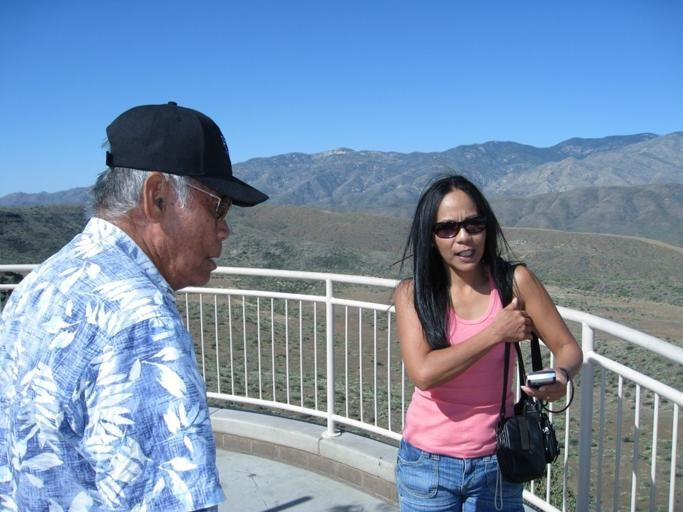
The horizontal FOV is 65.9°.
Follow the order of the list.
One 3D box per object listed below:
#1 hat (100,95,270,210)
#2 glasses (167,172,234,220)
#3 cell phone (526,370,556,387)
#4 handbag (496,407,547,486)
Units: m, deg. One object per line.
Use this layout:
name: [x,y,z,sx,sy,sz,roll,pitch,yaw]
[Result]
hat: [-0.397,-0.268,1.381,0.433,0.185,0.257,9,-2,-13]
glasses: [-0.353,-0.146,1.330,0.122,0.030,0.104,20,-1,-10]
cell phone: [0.749,0.463,1.976,0.130,0.052,0.061,-1,-28,-9]
handbag: [0.710,0.696,2.015,0.159,0.189,0.110,-6,-1,10]
